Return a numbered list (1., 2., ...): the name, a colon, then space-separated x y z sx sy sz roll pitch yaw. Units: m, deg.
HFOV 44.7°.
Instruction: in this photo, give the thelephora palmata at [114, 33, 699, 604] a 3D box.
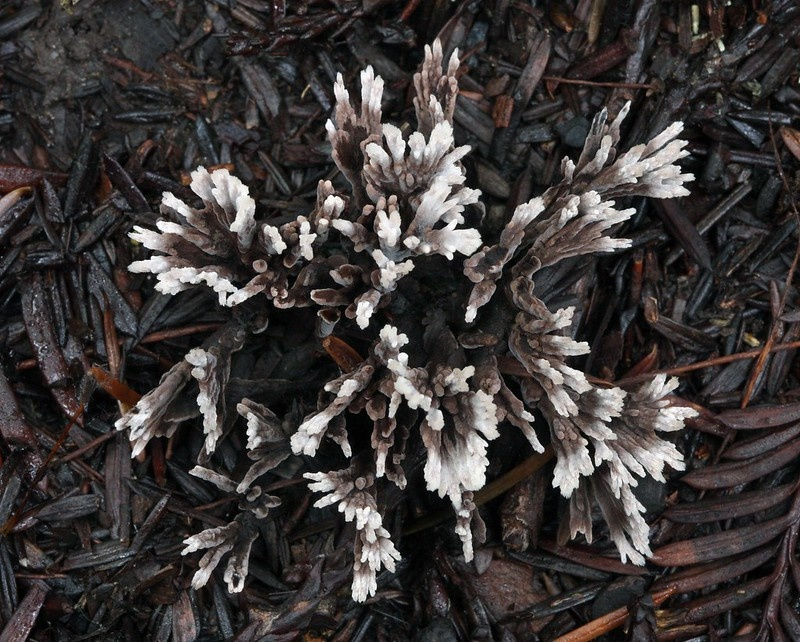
1. thelephora palmata: 0.066 0.035 3.989 2.130 0.782 1.971 -1 85 0
